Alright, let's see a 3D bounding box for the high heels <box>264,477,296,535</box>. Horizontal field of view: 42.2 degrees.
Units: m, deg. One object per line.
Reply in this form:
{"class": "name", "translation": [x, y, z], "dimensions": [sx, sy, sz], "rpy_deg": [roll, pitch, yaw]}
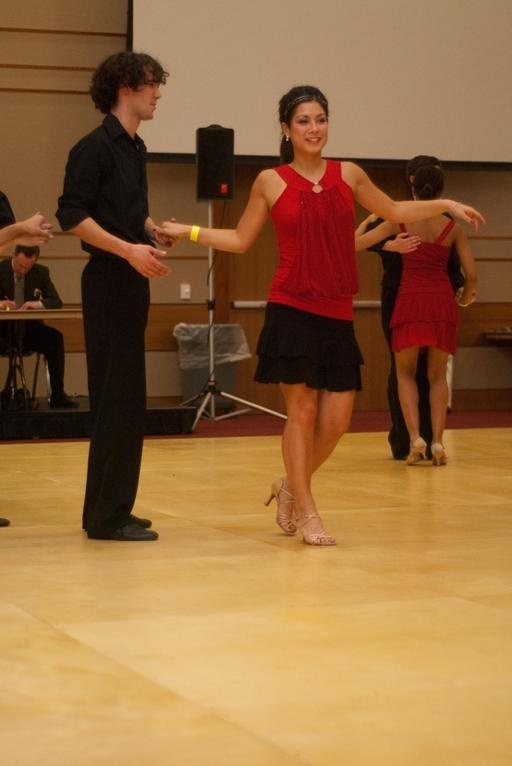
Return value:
{"class": "high heels", "translation": [0.092, 0.449, 2.445], "dimensions": [0.138, 0.205, 0.067], "rpy_deg": [-15, -11, 16]}

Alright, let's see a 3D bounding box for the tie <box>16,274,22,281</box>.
{"class": "tie", "translation": [-2.277, -1.013, 6.353], "dimensions": [0.051, 0.046, 0.012], "rpy_deg": [-3, -4, 7]}

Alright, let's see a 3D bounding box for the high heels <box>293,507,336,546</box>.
{"class": "high heels", "translation": [0.184, 0.484, 2.191], "dimensions": [0.062, 0.070, 0.171], "rpy_deg": [-2, -2, -25]}

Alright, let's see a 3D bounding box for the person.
{"class": "person", "translation": [-0.297, -0.328, 2.266], "dimensions": [1.065, 1.716, 0.419], "rpy_deg": [0, -3, 5]}

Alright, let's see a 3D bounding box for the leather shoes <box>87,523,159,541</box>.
{"class": "leather shoes", "translation": [-0.447, 0.509, 2.242], "dimensions": [0.230, 0.070, 0.081], "rpy_deg": [-2, -5, 0]}

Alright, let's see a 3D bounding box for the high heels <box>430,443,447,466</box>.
{"class": "high heels", "translation": [1.149, 0.453, 4.212], "dimensions": [0.066, 0.076, 0.180], "rpy_deg": [-2, 7, 6]}
